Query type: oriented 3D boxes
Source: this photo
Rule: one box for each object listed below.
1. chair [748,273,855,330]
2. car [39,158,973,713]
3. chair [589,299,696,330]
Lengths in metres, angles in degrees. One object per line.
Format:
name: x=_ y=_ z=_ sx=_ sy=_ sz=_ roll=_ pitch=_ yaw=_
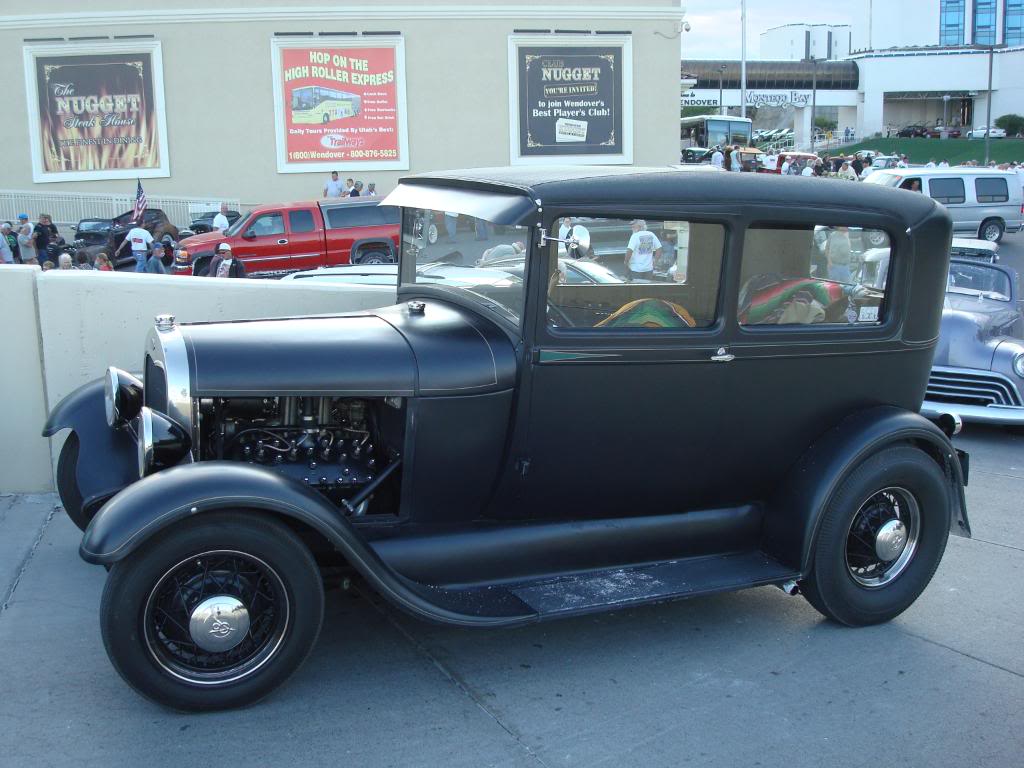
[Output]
chair: x=1.666 y=-0.521 z=4.843 sx=0.656 sy=0.350 sz=0.922 roll=3 pitch=7 yaw=11
car: x=0.103 y=0.141 z=4.901 sx=4.506 sy=2.299 sz=2.476 roll=0 pitch=9 yaw=-16
chair: x=0.706 y=-0.365 z=4.239 sx=0.535 sy=0.133 sz=0.136 roll=0 pitch=14 yaw=-6
